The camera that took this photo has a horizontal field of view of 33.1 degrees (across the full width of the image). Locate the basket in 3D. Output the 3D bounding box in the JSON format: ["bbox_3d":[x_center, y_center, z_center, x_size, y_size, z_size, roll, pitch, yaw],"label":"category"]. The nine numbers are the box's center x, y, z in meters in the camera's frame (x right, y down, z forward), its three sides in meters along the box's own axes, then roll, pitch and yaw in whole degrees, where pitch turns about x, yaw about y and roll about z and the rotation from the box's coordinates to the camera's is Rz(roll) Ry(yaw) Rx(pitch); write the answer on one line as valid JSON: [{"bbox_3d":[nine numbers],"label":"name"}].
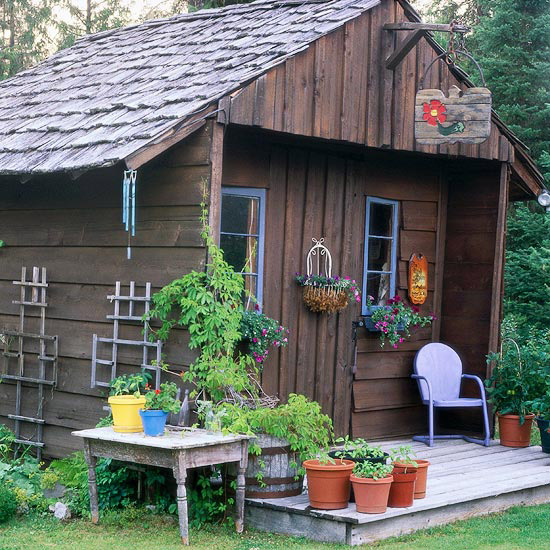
[{"bbox_3d":[0.411,-0.003,7.898,0.390,0.652,0.417,0,-6,-10],"label":"basket"}]

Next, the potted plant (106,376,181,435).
[{"bbox_3d":[-0.902,0.908,6.387,0.476,0.364,0.351,5,-5,2],"label":"potted plant"}]

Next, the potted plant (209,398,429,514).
[{"bbox_3d":[0.102,1.186,6.435,1.116,0.703,0.448,0,-6,-12],"label":"potted plant"}]

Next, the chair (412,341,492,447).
[{"bbox_3d":[1.601,1.090,8.530,0.546,0.990,0.621,1,-6,-17],"label":"chair"}]
